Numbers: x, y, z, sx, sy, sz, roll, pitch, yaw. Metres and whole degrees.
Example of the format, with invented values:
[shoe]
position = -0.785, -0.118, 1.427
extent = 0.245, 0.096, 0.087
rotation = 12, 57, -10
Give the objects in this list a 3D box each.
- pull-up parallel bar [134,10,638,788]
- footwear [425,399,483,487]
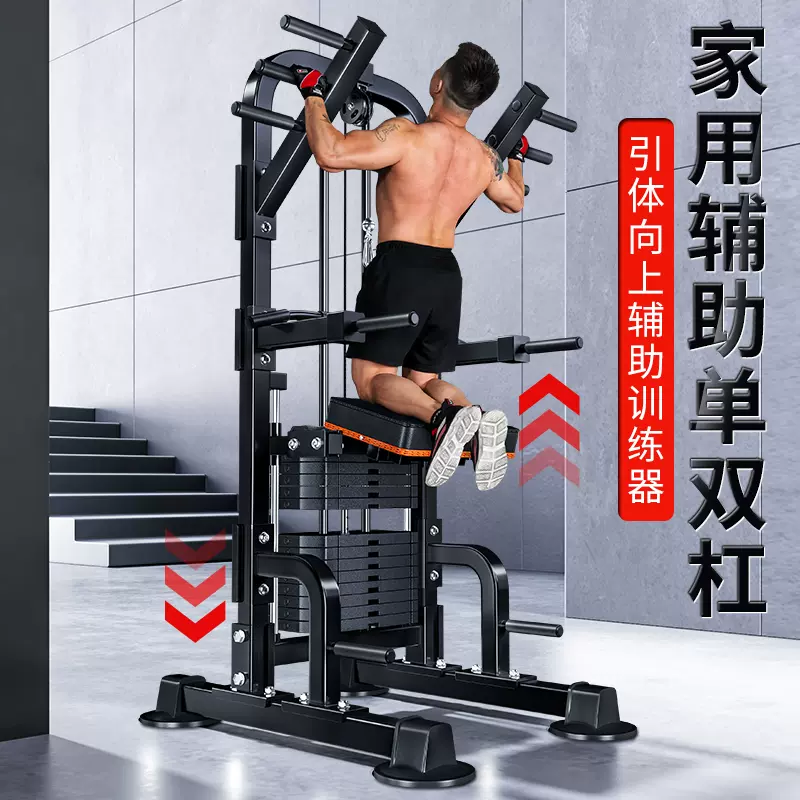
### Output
[pull-up parallel bar]
position = 0.022, -0.037, 2.979
extent = 1.311, 1.882, 1.258
rotation = -2, -5, 29
[footwear]
position = 0.147, 0.138, 2.846
extent = 0.095, 0.258, 0.113
rotation = 17, 20, -32
